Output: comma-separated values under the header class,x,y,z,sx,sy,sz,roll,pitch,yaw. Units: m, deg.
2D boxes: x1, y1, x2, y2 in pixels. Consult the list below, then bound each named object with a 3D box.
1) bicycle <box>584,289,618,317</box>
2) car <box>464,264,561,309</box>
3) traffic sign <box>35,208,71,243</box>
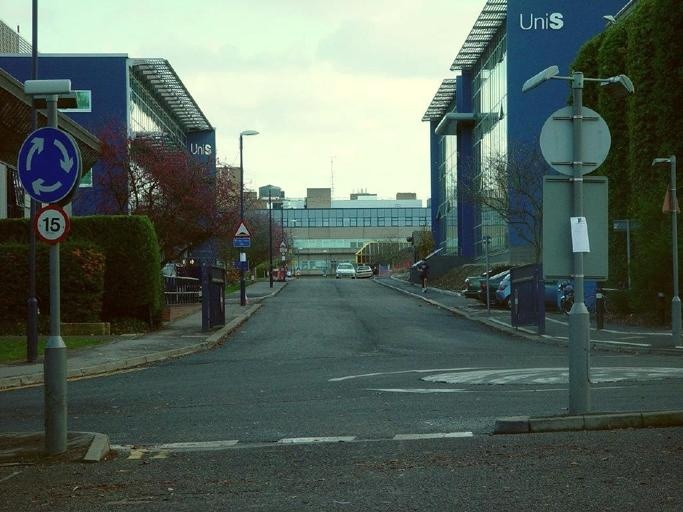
class,x,y,z,sx,sy,sz,roll,pitch,yaw
bicycle,8.027,1.427,29.522,0.302,1.105,1.108,0,3,-25
car,6.696,1.282,37.825,2.726,1.049,1.346,-2,1,-8
traffic sign,-3.963,-0.438,12.944,0.450,0.580,0.047,-1,31,-23
